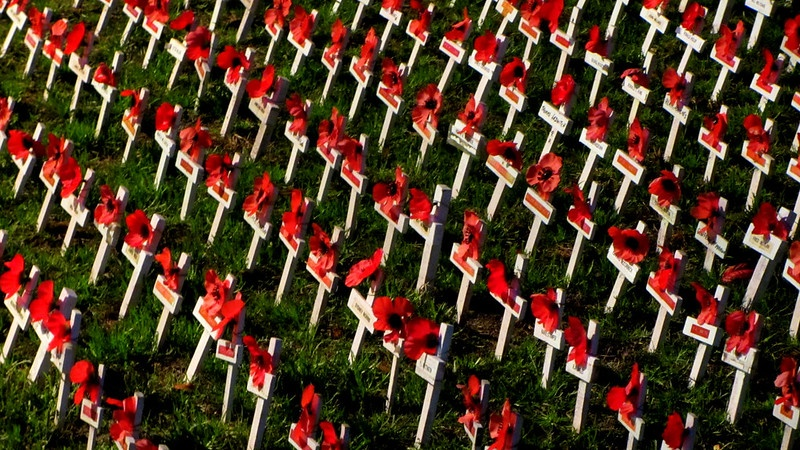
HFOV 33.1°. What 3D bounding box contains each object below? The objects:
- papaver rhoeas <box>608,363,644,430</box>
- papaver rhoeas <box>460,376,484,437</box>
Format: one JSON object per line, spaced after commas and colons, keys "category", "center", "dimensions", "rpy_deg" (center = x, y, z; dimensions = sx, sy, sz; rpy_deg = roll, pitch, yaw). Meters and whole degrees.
{"category": "papaver rhoeas", "center": [1.795, 1.349, 10.728], "dimensions": [0.315, 0.197, 0.518], "rpy_deg": [-26, -24, -5]}
{"category": "papaver rhoeas", "center": [0.566, 1.441, 10.670], "dimensions": [0.200, 0.468, 0.298], "rpy_deg": [4, -14, 5]}
